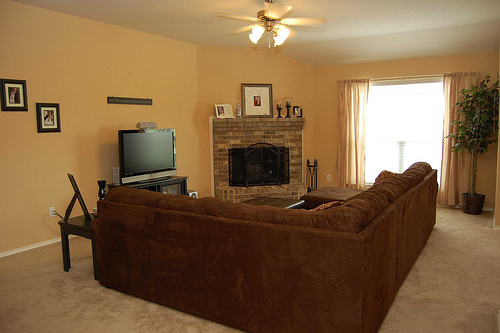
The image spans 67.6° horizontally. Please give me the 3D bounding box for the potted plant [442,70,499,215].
[{"bbox_3d":[4.131,-0.472,6.968,0.890,2.598,0.869,5,15,16],"label":"potted plant"}]

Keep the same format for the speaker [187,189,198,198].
[{"bbox_3d":[-0.990,0.458,6.396,0.198,0.125,0.201,2,2,39],"label":"speaker"}]

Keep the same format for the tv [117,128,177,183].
[{"bbox_3d":[-1.763,-0.207,6.474,0.108,0.893,1.212,5,9,34],"label":"tv"}]

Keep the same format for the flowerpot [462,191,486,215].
[{"bbox_3d":[4.182,0.692,6.983,0.378,0.339,0.401,0,1,-12],"label":"flowerpot"}]
